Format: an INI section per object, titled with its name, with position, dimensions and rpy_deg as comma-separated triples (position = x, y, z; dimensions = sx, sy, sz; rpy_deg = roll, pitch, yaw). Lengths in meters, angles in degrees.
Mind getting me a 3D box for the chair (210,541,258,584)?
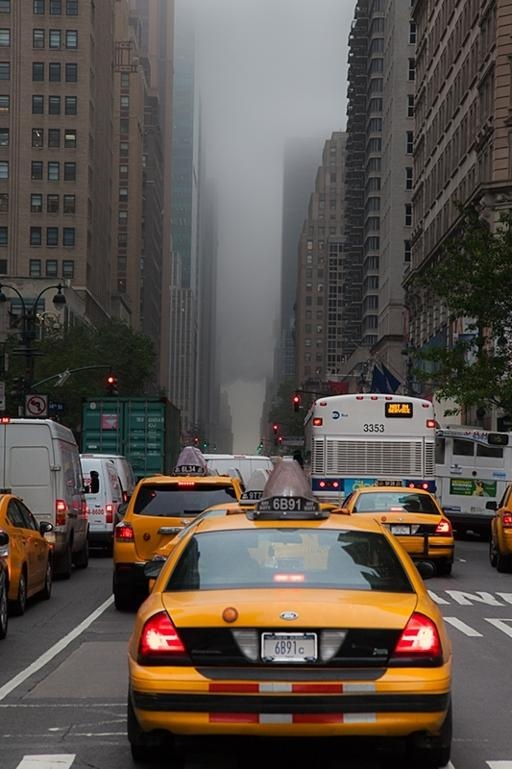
[chair]
position = -0.113, 0.899, 5.582
dimensions = 0.190, 0.232, 0.109
rpy_deg = 0, 1, 3
